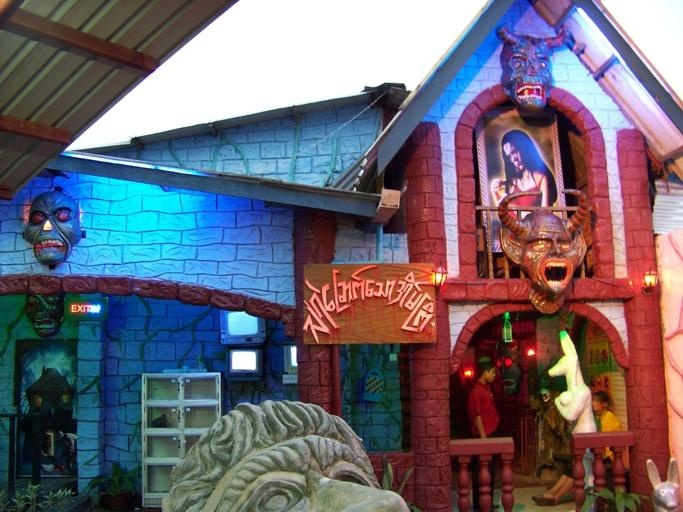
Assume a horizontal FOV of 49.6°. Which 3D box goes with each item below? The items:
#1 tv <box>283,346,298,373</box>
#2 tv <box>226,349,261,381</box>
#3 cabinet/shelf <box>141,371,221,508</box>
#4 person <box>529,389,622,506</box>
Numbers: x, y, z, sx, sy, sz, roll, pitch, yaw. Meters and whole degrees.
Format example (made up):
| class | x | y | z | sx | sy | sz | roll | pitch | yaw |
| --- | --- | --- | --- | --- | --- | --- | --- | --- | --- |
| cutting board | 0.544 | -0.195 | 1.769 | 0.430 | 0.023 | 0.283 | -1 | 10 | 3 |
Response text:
| class | x | y | z | sx | sy | sz | roll | pitch | yaw |
| --- | --- | --- | --- | --- | --- | --- | --- | --- | --- |
| tv | -0.857 | 1.779 | 12.734 | 0.196 | 0.505 | 0.086 | 0 | -19 | -3 |
| tv | -1.572 | 2.004 | 12.756 | 0.792 | 0.703 | 0.442 | 1 | -11 | -5 |
| cabinet/shelf | -2.531 | 2.906 | 11.672 | 1.198 | 2.056 | 0.747 | 1 | -19 | -5 |
| person | 3.648 | 3.007 | 11.625 | 1.444 | 1.773 | 1.139 | -4 | -19 | 8 |
